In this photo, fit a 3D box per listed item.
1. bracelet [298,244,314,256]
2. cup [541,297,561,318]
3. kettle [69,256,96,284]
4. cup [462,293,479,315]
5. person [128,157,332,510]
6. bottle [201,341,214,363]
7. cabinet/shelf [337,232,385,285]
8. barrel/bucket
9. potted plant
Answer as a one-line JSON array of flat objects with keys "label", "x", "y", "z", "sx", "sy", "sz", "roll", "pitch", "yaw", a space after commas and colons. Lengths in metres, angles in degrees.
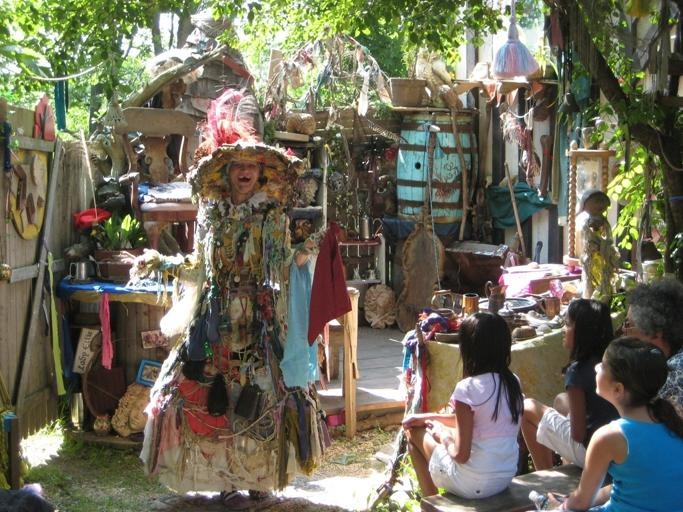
[{"label": "bracelet", "x": -0.237, "y": -0.043, "z": 4.619, "sx": 0.075, "sy": 0.078, "sz": 0.059, "roll": -10, "pitch": -10, "yaw": 41}, {"label": "cup", "x": 1.654, "y": 0.402, "z": 5.425, "sx": 0.100, "sy": 0.169, "sz": 0.167, "roll": 0, "pitch": -1, "yaw": -14}, {"label": "kettle", "x": -2.274, "y": 0.127, "z": 6.064, "sx": 0.274, "sy": 0.262, "sz": 0.167, "roll": -4, "pitch": 10, "yaw": -44}, {"label": "cup", "x": 0.989, "y": 0.361, "z": 5.191, "sx": 0.095, "sy": 0.151, "sz": 0.150, "roll": -1, "pitch": 1, "yaw": -12}, {"label": "person", "x": -0.740, "y": 0.517, "z": 4.701, "sx": 1.213, "sy": 2.354, "sz": 0.295, "roll": 1, "pitch": 0, "yaw": 5}, {"label": "bottle", "x": -0.891, "y": 0.638, "z": 4.632, "sx": 0.048, "sy": 0.143, "sz": 0.089, "roll": 1, "pitch": 0, "yaw": -2}, {"label": "cabinet/shelf", "x": 0.253, "y": 0.015, "z": 8.824, "sx": 0.654, "sy": 0.688, "sz": 0.352, "roll": 0, "pitch": -3, "yaw": -9}, {"label": "barrel/bucket", "x": 1.250, "y": -1.188, "z": 9.198, "sx": 0.996, "sy": 1.433, "sz": 0.556, "roll": 1, "pitch": 0, "yaw": 4}, {"label": "potted plant", "x": -1.999, "y": -0.087, "z": 6.308, "sx": 0.557, "sy": 0.630, "sz": 0.612, "roll": 0, "pitch": -7, "yaw": 1}]
